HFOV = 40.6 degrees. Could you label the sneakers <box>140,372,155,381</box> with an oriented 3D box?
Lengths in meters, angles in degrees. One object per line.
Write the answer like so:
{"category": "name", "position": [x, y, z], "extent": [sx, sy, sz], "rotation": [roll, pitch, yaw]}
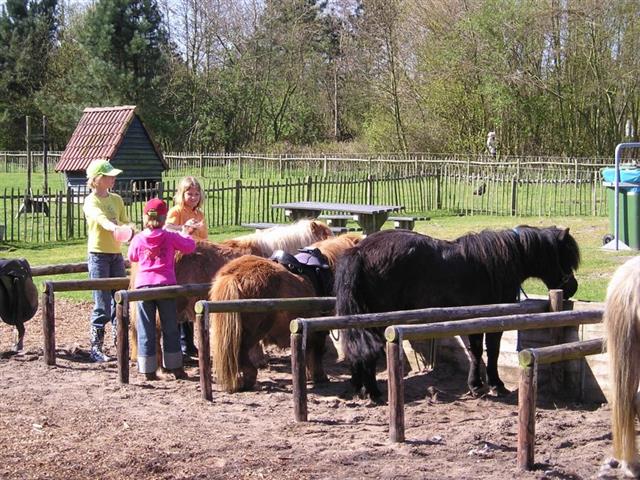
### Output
{"category": "sneakers", "position": [-2.255, 1.797, 11.350], "extent": [0.093, 0.047, 0.157], "rotation": [-31, -13, 26]}

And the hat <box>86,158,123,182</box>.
{"category": "hat", "position": [-2.954, -0.961, 11.837], "extent": [0.423, 0.295, 0.332], "rotation": [-7, 13, -11]}

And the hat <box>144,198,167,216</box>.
{"category": "hat", "position": [-2.131, -0.416, 11.178], "extent": [0.289, 0.224, 0.202], "rotation": [-2, 10, -15]}

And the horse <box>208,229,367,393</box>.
{"category": "horse", "position": [-0.460, 1.015, 11.668], "extent": [0.710, 1.802, 2.558], "rotation": [3, 4, 43]}

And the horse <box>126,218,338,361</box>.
{"category": "horse", "position": [-1.181, 0.731, 12.115], "extent": [2.674, 2.169, 0.792], "rotation": [-1, 16, -3]}

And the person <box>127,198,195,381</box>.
{"category": "person", "position": [-2.080, 0.660, 11.251], "extent": [0.793, 2.360, 0.547], "rotation": [-1, 9, -13]}
